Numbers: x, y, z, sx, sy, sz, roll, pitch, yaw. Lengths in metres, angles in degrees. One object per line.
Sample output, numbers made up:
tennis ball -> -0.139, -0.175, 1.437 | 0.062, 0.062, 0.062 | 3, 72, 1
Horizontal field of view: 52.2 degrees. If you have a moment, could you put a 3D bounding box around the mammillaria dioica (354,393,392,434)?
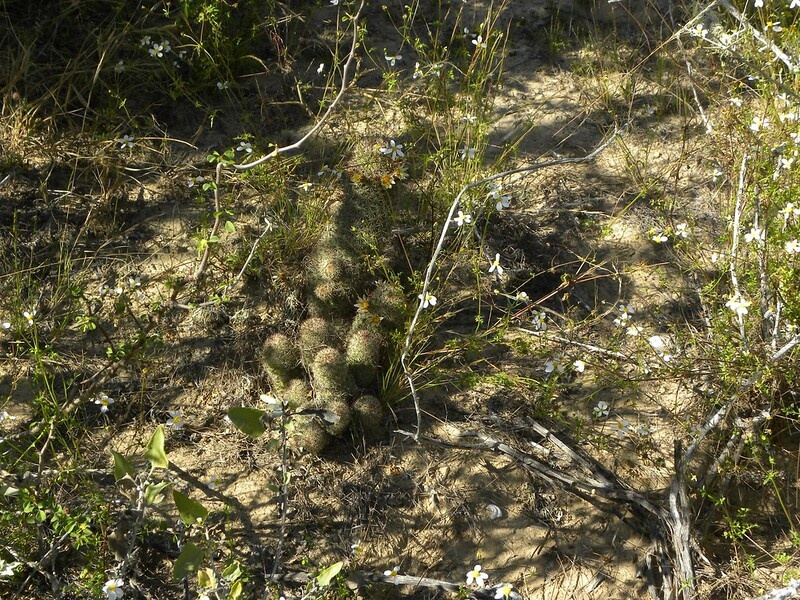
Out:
mammillaria dioica -> -0.170, 0.660, 4.780 | 0.204, 0.223, 0.164 | -19, 54, -11

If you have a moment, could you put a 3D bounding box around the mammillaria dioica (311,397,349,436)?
mammillaria dioica -> -0.393, 0.653, 4.624 | 0.157, 0.220, 0.192 | -3, 2, 14

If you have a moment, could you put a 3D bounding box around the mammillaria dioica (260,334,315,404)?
mammillaria dioica -> -0.646, 0.400, 4.811 | 0.213, 0.487, 0.194 | -10, 6, 26

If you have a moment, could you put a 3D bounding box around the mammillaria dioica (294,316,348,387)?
mammillaria dioica -> -0.483, 0.264, 4.837 | 0.249, 0.408, 0.282 | -12, 13, 3
